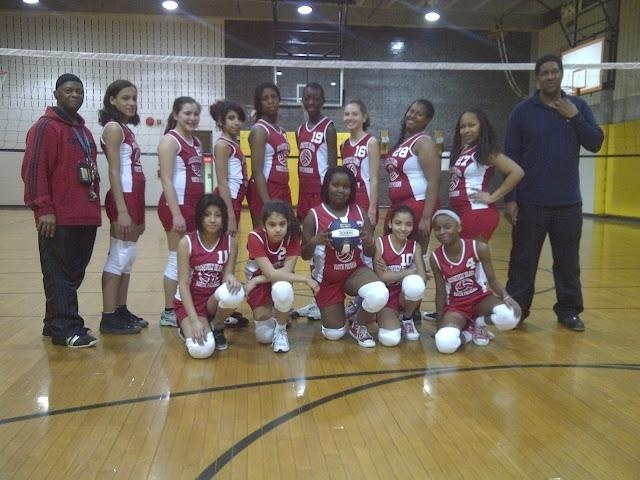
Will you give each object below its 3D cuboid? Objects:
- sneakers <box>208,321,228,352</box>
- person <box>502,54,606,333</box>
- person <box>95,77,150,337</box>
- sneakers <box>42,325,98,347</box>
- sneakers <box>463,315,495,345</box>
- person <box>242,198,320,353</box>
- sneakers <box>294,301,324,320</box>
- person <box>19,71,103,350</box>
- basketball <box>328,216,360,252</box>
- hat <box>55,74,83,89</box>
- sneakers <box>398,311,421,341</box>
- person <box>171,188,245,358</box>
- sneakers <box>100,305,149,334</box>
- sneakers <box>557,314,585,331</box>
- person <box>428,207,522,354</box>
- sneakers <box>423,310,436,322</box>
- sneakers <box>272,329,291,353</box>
[{"bbox_3d":[-0.761,0.736,4.040,0.075,0.116,0.252,-1,9,-21],"label":"sneakers"},{"bbox_3d":[1.867,-0.388,4.484,0.720,2.146,0.529,6,15,25],"label":"person"},{"bbox_3d":[-1.620,-0.253,4.359,0.395,1.977,0.565,-1,13,-3],"label":"person"},{"bbox_3d":[-1.868,0.707,4.121,0.465,0.213,0.182,1,-2,10],"label":"sneakers"},{"bbox_3d":[1.174,0.696,4.166,0.192,0.177,0.190,1,14,6],"label":"sneakers"},{"bbox_3d":[-0.369,0.249,4.196,0.502,1.107,0.706,-12,18,-40],"label":"person"},{"bbox_3d":[-0.102,0.633,4.844,0.318,0.152,0.114,2,-2,4],"label":"sneakers"},{"bbox_3d":[-1.873,-0.218,4.054,0.439,1.946,0.552,2,14,9],"label":"person"},{"bbox_3d":[0.176,-0.049,4.136,0.211,0.242,0.220,3,-2,-7],"label":"basketball"},{"bbox_3d":[-1.852,-1.155,3.997,0.146,0.102,0.152,5,13,40],"label":"hat"},{"bbox_3d":[0.712,0.683,4.336,0.089,0.104,0.251,-3,7,-1],"label":"sneakers"},{"bbox_3d":[-0.833,0.251,4.005,0.496,1.111,0.543,-5,14,-17],"label":"person"},{"bbox_3d":[-1.579,0.670,4.406,0.224,0.151,0.274,2,-1,-4],"label":"sneakers"},{"bbox_3d":[2.062,0.681,4.472,0.083,0.100,0.241,-1,-6,2],"label":"sneakers"},{"bbox_3d":[1.170,0.281,4.175,0.599,0.963,0.487,-2,14,-5],"label":"person"},{"bbox_3d":[0.951,0.666,4.778,0.081,0.086,0.215,1,-2,9],"label":"sneakers"},{"bbox_3d":[-0.297,0.736,4.061,0.125,0.135,0.219,-2,14,-5],"label":"sneakers"}]
